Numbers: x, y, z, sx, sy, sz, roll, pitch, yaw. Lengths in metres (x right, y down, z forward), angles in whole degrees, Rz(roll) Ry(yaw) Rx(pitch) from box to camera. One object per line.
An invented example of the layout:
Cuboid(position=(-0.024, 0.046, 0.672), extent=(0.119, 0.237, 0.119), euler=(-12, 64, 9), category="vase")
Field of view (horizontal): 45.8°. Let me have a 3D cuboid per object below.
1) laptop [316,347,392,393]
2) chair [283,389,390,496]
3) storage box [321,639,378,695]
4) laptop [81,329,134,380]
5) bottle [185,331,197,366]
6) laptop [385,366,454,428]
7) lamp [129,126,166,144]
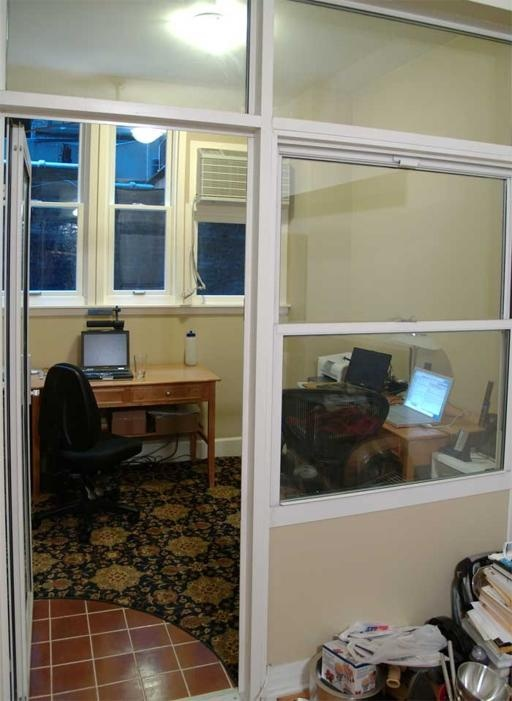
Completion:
Cuboid(position=(0.290, 0.051, 1.793), extent=(0.176, 0.117, 0.145), euler=(15, -4, 24), category="laptop")
Cuboid(position=(0.193, 0.235, 1.939), extent=(0.341, 0.403, 0.298), euler=(-1, 4, -25), category="chair")
Cuboid(position=(0.248, 0.887, 1.719), extent=(0.122, 0.096, 0.181), euler=(2, 0, -16), category="storage box")
Cuboid(position=(-0.894, 0.003, 3.644), extent=(0.358, 0.333, 0.283), euler=(-1, 4, -20), category="laptop")
Cuboid(position=(-0.424, -0.020, 3.937), extent=(0.086, 0.220, 0.124), euler=(0, 7, -7), category="bottle")
Cuboid(position=(0.507, 0.151, 1.912), extent=(0.179, 0.188, 0.140), euler=(21, 23, 25), category="laptop")
Cuboid(position=(-0.648, -1.348, 3.753), extent=(0.230, 0.086, 0.261), euler=(-2, 8, -21), category="lamp")
